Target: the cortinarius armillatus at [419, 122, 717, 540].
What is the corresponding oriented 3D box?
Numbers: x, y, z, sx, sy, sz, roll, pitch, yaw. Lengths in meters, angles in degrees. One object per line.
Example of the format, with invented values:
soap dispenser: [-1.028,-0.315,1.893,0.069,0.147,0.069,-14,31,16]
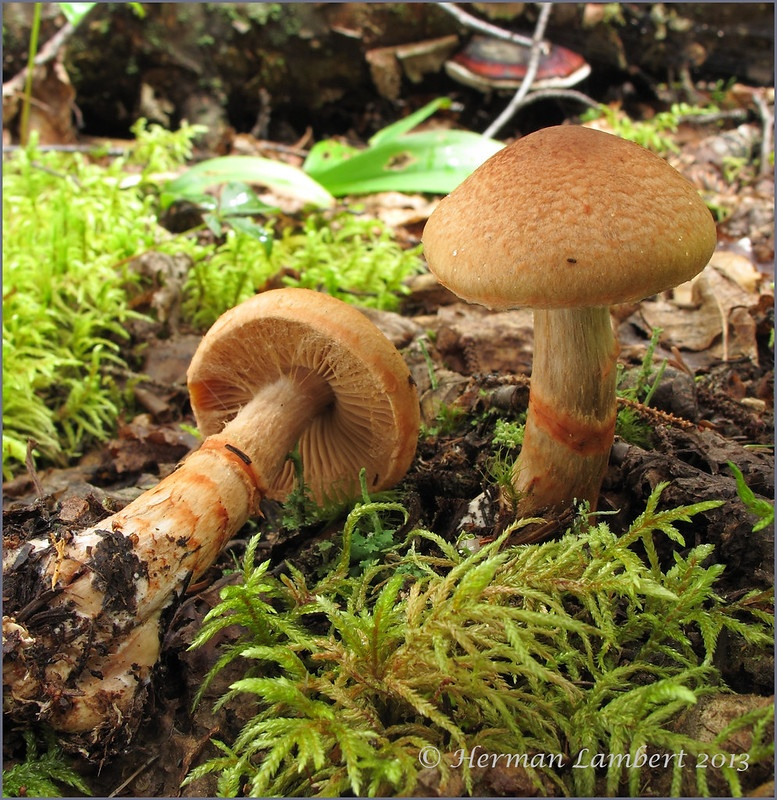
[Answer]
cortinarius armillatus: [0.668,-0.193,2.634,1.158,1.230,0.933,1,23,9]
